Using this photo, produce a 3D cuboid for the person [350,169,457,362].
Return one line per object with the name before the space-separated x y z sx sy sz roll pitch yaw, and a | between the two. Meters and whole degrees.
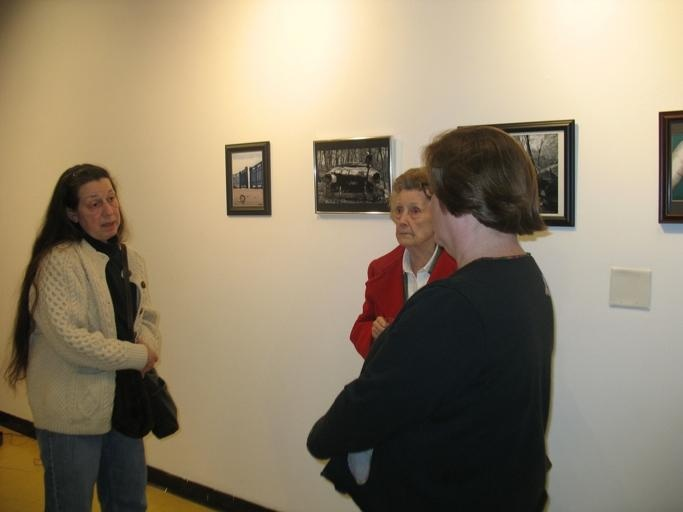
person | 0.326 0.128 2.445 0.569 1.005 0.504 3 1 25
